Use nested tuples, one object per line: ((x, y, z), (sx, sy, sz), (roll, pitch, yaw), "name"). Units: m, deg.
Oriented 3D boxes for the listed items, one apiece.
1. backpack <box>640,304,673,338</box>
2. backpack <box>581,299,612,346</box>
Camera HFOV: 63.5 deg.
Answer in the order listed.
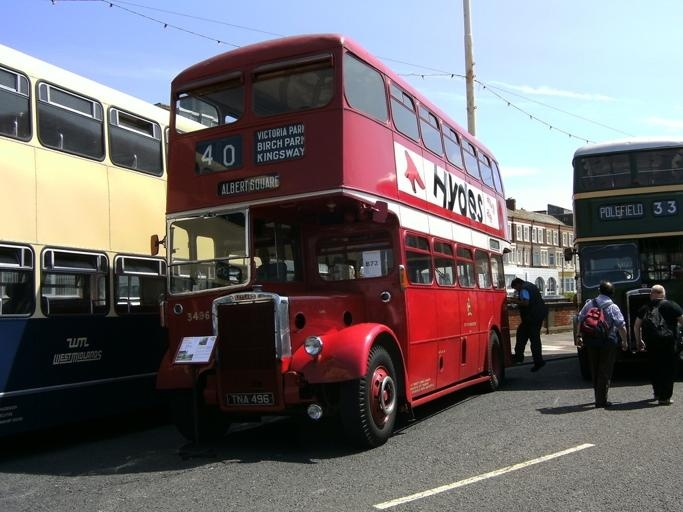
((5.800, 1.188, 10.131), (0.372, 0.671, 0.626), (-11, -37, 37), "backpack")
((4.600, 1.192, 9.959), (0.413, 0.820, 0.368), (0, -4, -23), "backpack")
